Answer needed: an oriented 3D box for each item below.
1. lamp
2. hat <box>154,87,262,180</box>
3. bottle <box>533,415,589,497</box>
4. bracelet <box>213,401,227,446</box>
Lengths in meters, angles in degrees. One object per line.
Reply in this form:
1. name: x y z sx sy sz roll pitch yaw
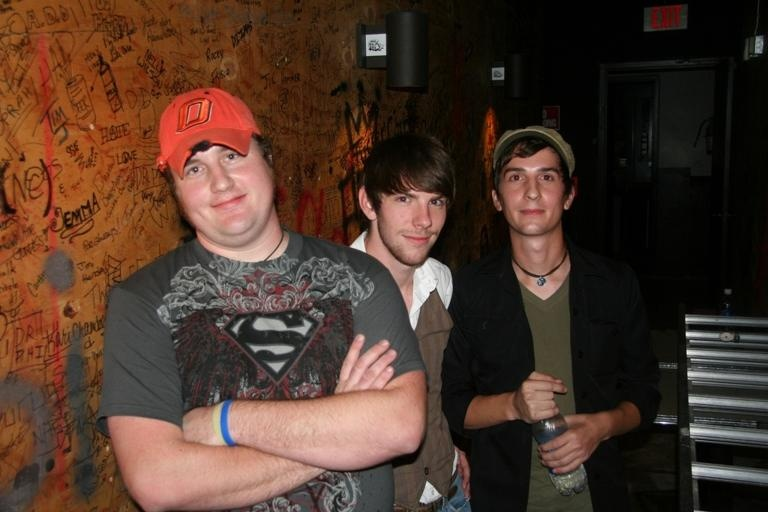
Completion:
1. lamp: 0.128 -1.331 3.825 0.597 0.586 0.353 2 7 18
2. hat: -0.598 -0.422 2.002 0.251 0.194 0.353 -21 13 -1
3. bottle: 0.710 0.816 2.341 0.204 0.373 0.151 0 7 19
4. bracelet: -0.496 0.515 1.767 0.058 0.133 0.041 -5 7 -17
